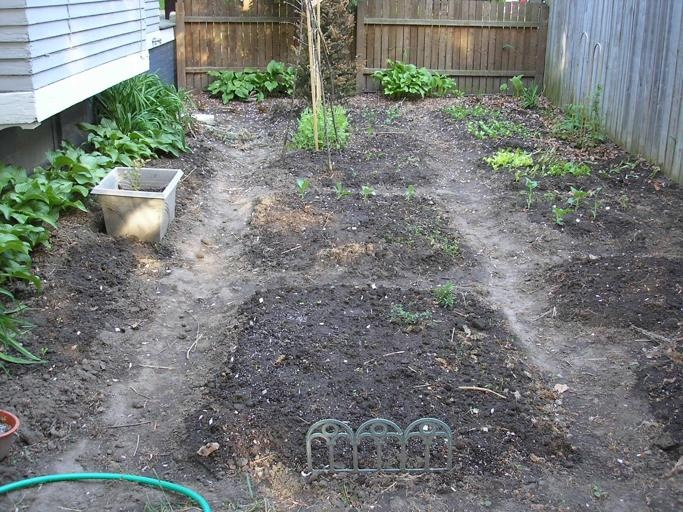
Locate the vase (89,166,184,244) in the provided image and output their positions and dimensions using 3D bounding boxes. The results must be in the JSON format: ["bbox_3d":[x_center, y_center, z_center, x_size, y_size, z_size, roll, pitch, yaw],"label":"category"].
[{"bbox_3d":[-2.122,-0.552,5.862,0.771,0.541,0.822,3,26,-6],"label":"vase"}]
